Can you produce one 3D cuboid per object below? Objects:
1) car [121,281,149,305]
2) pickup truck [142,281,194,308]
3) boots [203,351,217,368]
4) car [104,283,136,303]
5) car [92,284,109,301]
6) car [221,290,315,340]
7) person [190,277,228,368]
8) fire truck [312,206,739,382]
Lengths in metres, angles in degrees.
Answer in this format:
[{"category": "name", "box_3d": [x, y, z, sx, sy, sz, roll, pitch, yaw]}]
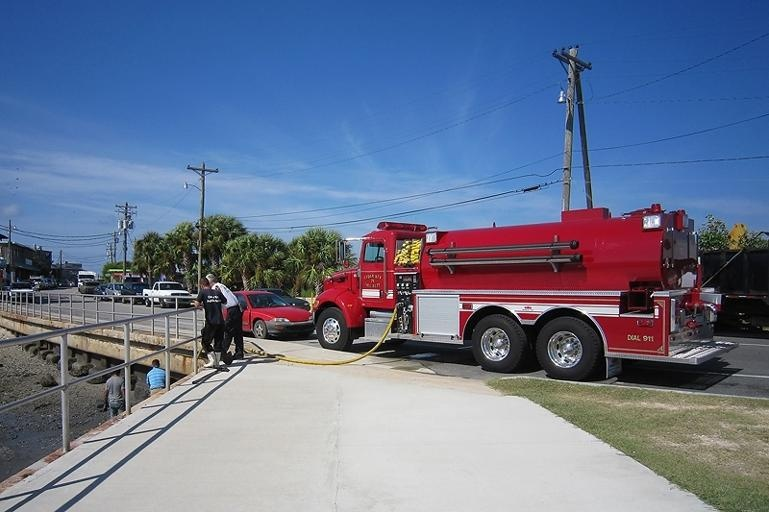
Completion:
[{"category": "car", "box_3d": [-18.161, 2.727, 39.414, 1.547, 1.343, 2.958, 2, -6, -34]}, {"category": "pickup truck", "box_3d": [-15.281, 2.728, 38.077, 1.627, 1.288, 3.573, 2, -6, -34]}, {"category": "boots", "box_3d": [-4.000, 2.378, 12.471, 0.200, 0.359, 0.293, 3, -6, -26]}, {"category": "car", "box_3d": [-19.244, 2.690, 39.601, 1.553, 1.202, 3.439, 3, -7, -37]}, {"category": "car", "box_3d": [-23.473, 2.997, 44.832, 1.505, 1.198, 3.171, 2, -5, -28]}, {"category": "car", "box_3d": [-4.254, 2.110, 19.377, 1.399, 1.040, 3.042, 2, -4, -43]}, {"category": "person", "box_3d": [-4.026, 1.559, 12.618, 0.678, 2.091, 0.836, 2, -5, -16]}, {"category": "fire truck", "box_3d": [2.764, 0.882, 15.487, 11.360, 3.862, 3.715, -2, -1, 39]}]
